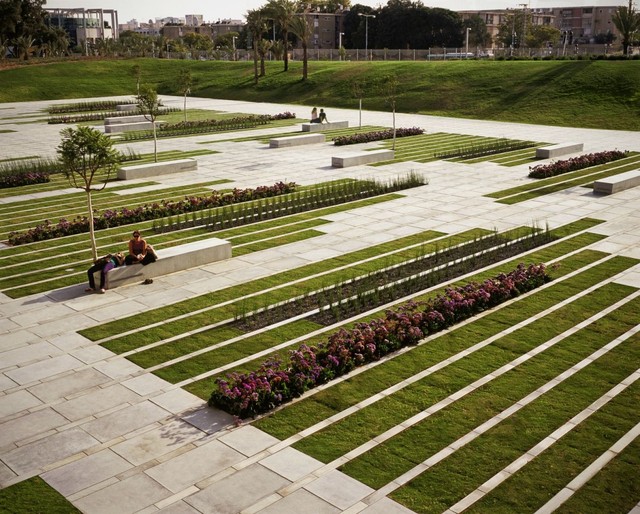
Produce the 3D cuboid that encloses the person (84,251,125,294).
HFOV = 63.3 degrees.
[{"bbox_3d":[-5.681,0.418,13.700,0.616,0.826,0.856,6,19,22],"label":"person"}]

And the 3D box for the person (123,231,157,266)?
[{"bbox_3d":[-4.884,-0.231,14.097,0.871,0.859,0.791,1,14,21],"label":"person"}]
